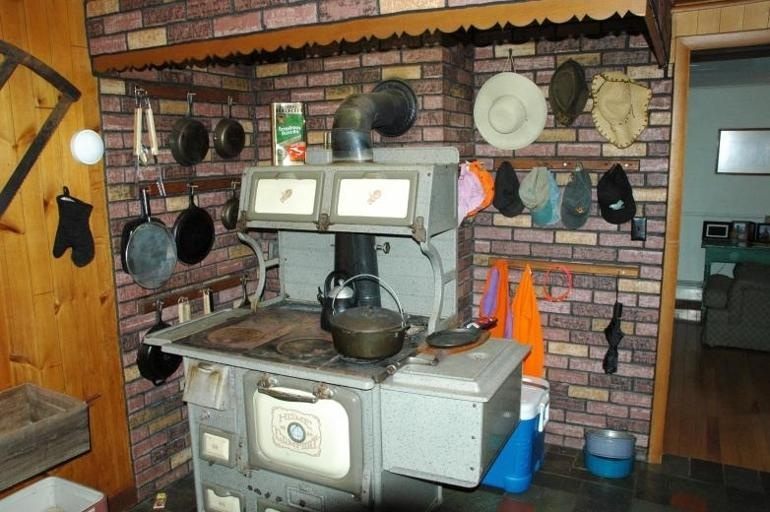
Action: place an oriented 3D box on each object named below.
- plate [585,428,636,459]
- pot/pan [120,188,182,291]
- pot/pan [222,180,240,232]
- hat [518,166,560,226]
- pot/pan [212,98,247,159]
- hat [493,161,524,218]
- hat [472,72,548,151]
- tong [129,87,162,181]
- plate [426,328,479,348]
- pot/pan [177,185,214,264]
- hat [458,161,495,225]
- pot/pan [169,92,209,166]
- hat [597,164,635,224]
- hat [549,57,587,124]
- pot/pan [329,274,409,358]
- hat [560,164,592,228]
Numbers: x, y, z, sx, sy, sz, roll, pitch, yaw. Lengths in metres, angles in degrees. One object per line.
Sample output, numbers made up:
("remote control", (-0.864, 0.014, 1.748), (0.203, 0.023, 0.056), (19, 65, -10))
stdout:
("plate", (1.646, 1.367, 4.240), (0.230, 0.107, 0.228), (3, 4, 11))
("pot/pan", (-1.585, -0.108, 3.908), (0.362, 0.680, 0.099), (-6, 9, -41))
("pot/pan", (-1.155, -0.368, 4.418), (0.099, 0.357, 0.230), (5, 6, 22))
("hat", (1.176, -0.440, 4.375), (0.301, 0.449, 0.135), (3, 7, 16))
("pot/pan", (-1.165, -0.939, 4.332), (0.059, 0.407, 0.273), (3, 11, 34))
("hat", (0.946, -0.495, 4.453), (0.264, 0.378, 0.139), (-6, 3, 19))
("hat", (0.929, -1.078, 4.306), (0.537, 0.554, 0.189), (3, 7, 15))
("tong", (-1.590, -0.817, 3.860), (0.170, 0.589, 0.221), (-2, 8, -21))
("plate", (0.428, 0.498, 3.509), (0.358, 0.071, 0.214), (-1, 8, -12))
("pot/pan", (-1.367, -0.183, 4.172), (0.070, 0.465, 0.315), (0, 2, 34))
("hat", (0.636, -0.476, 4.214), (0.173, 0.413, 0.459), (4, 8, 28))
("pot/pan", (-1.383, -0.810, 4.125), (0.085, 0.350, 0.276), (5, 9, 33))
("hat", (1.678, -0.437, 4.205), (0.262, 0.428, 0.101), (0, 16, 23))
("hat", (1.313, -1.174, 4.162), (0.288, 0.429, 0.105), (15, 22, 26))
("pot/pan", (-0.089, 0.313, 3.398), (0.495, 0.409, 0.455), (3, 9, 14))
("hat", (1.424, -0.438, 4.279), (0.219, 0.424, 0.117), (5, 17, 11))
